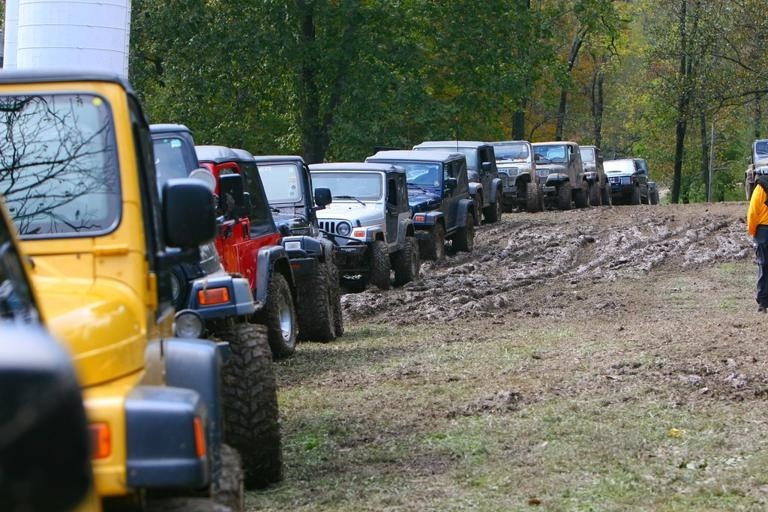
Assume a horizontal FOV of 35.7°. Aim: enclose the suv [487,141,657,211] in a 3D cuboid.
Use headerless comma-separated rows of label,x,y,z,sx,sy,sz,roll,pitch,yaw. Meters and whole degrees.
suv,4.551,-2.147,32.806,1.945,1.571,3.448,-1,-3,19
